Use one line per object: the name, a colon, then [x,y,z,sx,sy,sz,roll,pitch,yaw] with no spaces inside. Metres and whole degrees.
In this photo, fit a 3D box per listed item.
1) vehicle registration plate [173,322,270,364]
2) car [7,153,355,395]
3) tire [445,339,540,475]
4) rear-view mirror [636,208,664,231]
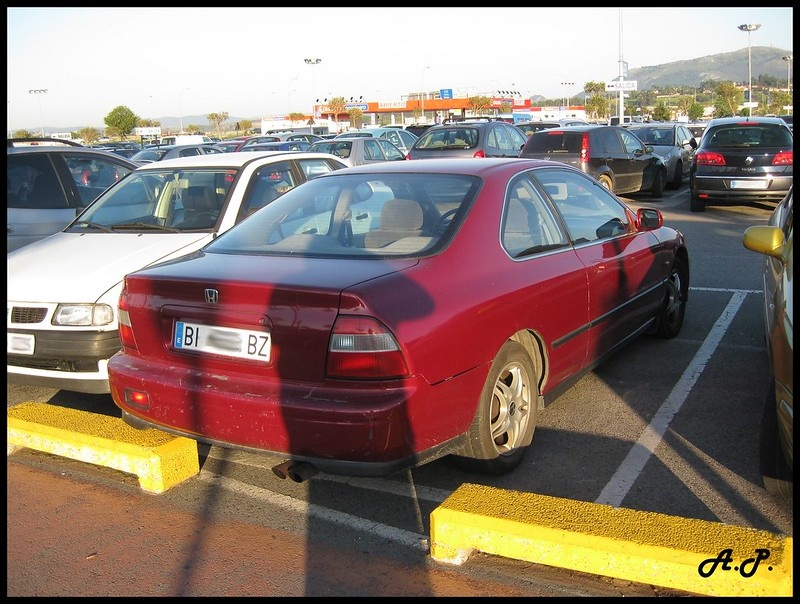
vehicle registration plate: [-0.917,0.209,2.649,0.041,0.175,0.758,-5,-12,20]
car: [-2.114,-0.550,5.262,1.931,1.416,3.367,5,11,32]
tire: [0.506,0.588,2.878,0.253,0.751,0.770,0,-12,36]
rear-view mirror: [2.255,-0.766,4.651,0.229,0.112,0.223,1,-5,-20]
